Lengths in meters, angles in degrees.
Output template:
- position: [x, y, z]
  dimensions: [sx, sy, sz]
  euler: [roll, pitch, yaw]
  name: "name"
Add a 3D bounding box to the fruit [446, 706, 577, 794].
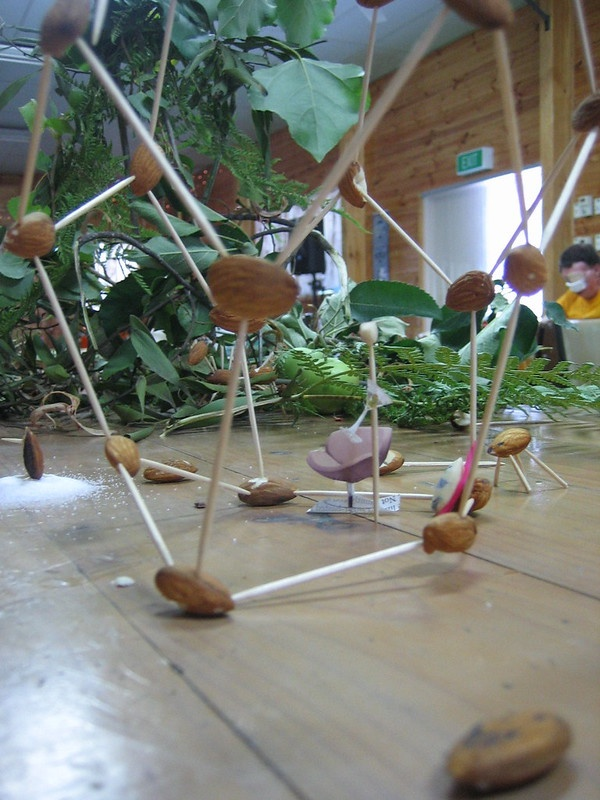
- position: [0.071, 0.112, 0.211]
  dimensions: [0.056, 0.012, 0.023]
  euler: [-3, 5, -26]
  name: "fruit"
